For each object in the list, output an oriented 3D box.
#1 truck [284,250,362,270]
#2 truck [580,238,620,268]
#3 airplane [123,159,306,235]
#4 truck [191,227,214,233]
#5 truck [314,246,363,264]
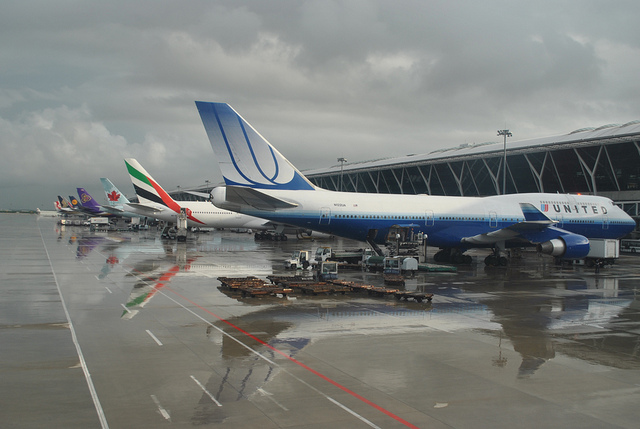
[{"bbox_3d":[0.194,3.033,32.803,5.447,1.077,2.987,1,4,-10],"label":"truck"},{"bbox_3d":[20.045,2.605,35.627,4.192,1.576,1.895,-3,5,-35],"label":"truck"},{"bbox_3d":[-14.430,-0.797,62.342,19.154,4.058,15.025,2,2,-19],"label":"airplane"},{"bbox_3d":[-20.265,2.585,83.525,4.722,0.868,1.905,0,1,-9],"label":"truck"},{"bbox_3d":[1.348,2.933,34.451,3.218,0.761,1.646,1,-4,-3],"label":"truck"}]
